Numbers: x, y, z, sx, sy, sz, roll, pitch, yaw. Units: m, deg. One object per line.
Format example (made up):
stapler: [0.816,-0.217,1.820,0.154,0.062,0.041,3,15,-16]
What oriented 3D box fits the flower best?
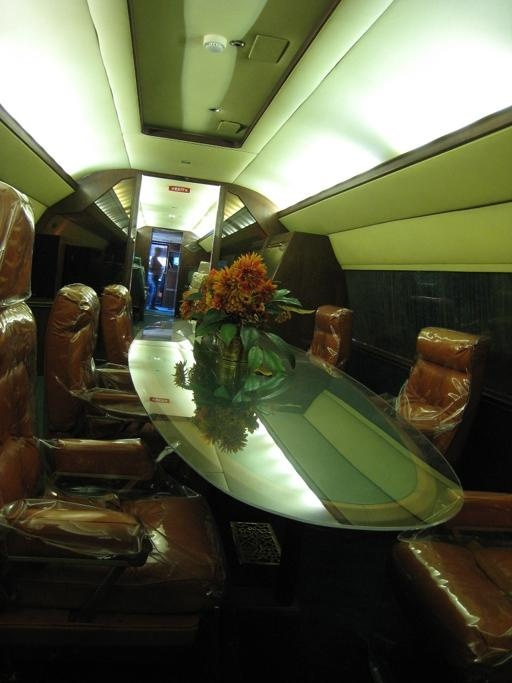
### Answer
flower: [-0.032,-0.130,2.262,0.791,0.511,0.750,-3,19,-13]
